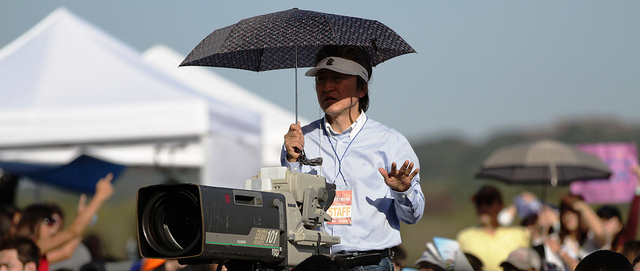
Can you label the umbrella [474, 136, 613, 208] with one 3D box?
[{"bbox_3d":[7.847,1.041,34.276,3.147,1.857,3.008,6,-10,-27],"label":"umbrella"}]
